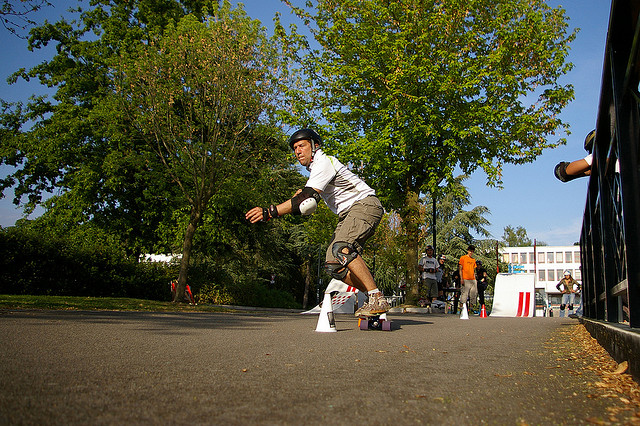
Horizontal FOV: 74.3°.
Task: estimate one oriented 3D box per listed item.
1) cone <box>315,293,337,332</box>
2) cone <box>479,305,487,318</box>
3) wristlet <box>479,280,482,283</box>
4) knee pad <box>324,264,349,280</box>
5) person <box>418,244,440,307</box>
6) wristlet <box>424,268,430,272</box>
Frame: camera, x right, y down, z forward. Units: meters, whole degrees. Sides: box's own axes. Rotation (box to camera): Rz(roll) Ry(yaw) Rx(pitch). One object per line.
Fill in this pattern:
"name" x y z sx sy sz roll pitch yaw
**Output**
"cone" 0.093 1.347 5.782 0.276 0.506 0.415 2 -11 -1
"cone" 4.739 2.843 12.251 0.345 0.414 0.359 -4 -10 20
"wristlet" 6.587 2.786 17.323 0.087 0.089 0.022 0 -13 15
"knee pad" 0.200 0.779 5.731 0.202 0.162 0.280 2 -26 5
"person" 4.511 2.553 17.314 0.817 2.421 0.876 1 -10 4
"wristlet" 4.363 2.298 17.229 0.198 0.123 0.083 -1 -11 12
